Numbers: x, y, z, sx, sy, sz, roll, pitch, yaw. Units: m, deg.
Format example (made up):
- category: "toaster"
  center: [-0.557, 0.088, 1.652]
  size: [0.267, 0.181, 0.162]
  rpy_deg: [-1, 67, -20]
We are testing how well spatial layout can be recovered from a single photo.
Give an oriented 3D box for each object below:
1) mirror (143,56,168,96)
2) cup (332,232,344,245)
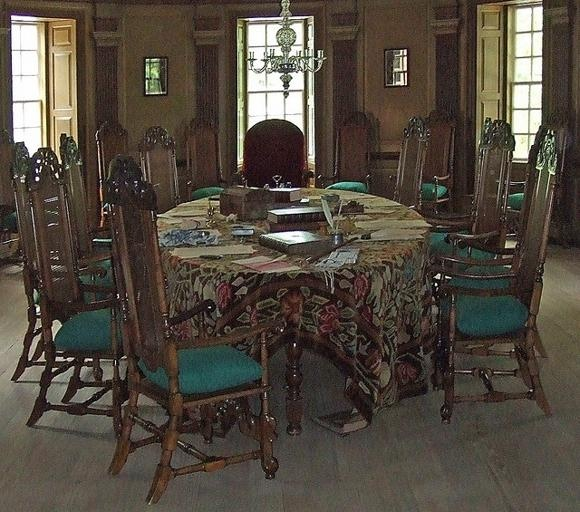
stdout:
- category: "mirror"
  center: [-2.275, -3.013, 7.839]
  size: [0.508, 0.912, 0.057]
  rpy_deg: [-1, 6, -12]
- category: "cup"
  center: [0.266, -0.094, 2.606]
  size: [0.053, 0.070, 0.058]
  rpy_deg: [2, -2, 0]
